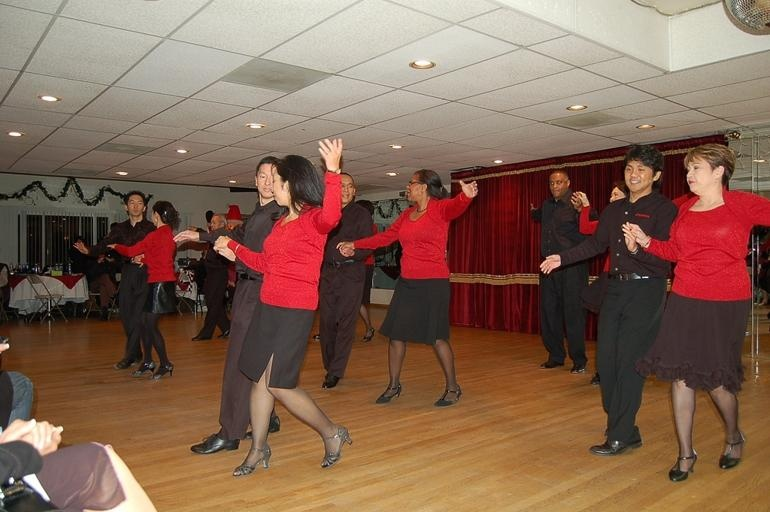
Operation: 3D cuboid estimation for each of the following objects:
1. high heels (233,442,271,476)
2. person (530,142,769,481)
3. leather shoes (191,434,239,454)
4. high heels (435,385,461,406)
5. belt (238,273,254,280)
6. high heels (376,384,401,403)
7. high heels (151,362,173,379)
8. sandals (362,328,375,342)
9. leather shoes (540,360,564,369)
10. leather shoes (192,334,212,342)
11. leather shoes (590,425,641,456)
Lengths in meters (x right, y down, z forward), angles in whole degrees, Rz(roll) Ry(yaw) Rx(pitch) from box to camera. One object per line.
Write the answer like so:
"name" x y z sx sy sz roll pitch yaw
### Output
"high heels" -0.863 1.394 3.159 0.339 0.177 0.117 5 -5 -39
"person" 2.076 0.379 3.044 0.699 2.216 0.260 1 1 18
"leather shoes" -1.263 1.416 3.485 0.376 0.141 0.142 3 -6 -11
"high heels" 0.625 1.381 4.518 0.147 0.097 0.285 -26 -12 37
"belt" -1.030 0.160 3.395 0.077 0.025 0.073 4 3 6
"high heels" 0.029 1.401 4.622 0.347 0.133 0.115 8 -15 -44
"high heels" -2.595 1.375 5.439 0.151 0.128 0.286 -8 -13 33
"sandals" -0.294 1.442 8.241 0.162 0.175 0.481 -4 -10 13
"leather shoes" 2.264 1.476 6.209 0.311 0.115 0.112 4 -11 -14
"leather shoes" -3.133 1.423 7.855 0.311 0.116 0.107 7 -8 -15
"leather shoes" 1.737 1.390 3.513 0.467 0.190 0.165 -2 -5 -13
